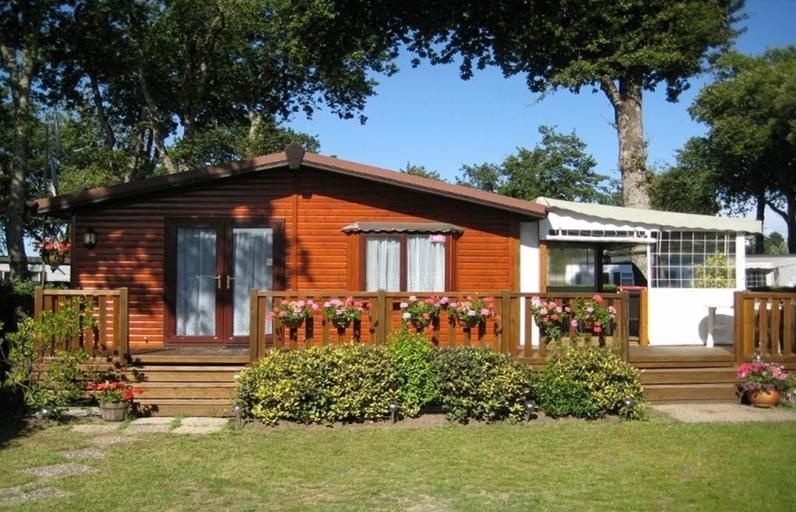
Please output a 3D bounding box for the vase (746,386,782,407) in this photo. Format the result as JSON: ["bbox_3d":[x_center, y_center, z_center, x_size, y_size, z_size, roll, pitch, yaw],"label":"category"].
[{"bbox_3d":[9.842,3.774,21.953,0.559,0.361,0.595,3,-10,-13],"label":"vase"}]

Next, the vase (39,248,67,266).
[{"bbox_3d":[-12.552,0.072,30.439,0.767,0.463,0.766,-2,-5,28],"label":"vase"}]

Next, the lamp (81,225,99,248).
[{"bbox_3d":[-8.865,-0.532,23.676,0.521,0.901,0.543,2,-3,-10],"label":"lamp"}]

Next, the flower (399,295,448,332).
[{"bbox_3d":[0.773,1.496,22.522,1.042,0.821,1.170,0,0,9],"label":"flower"}]

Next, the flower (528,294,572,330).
[{"bbox_3d":[4.136,1.559,22.450,0.943,0.749,1.061,4,-2,-33],"label":"flower"}]

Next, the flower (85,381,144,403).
[{"bbox_3d":[-7.327,3.552,21.316,0.914,0.382,0.823,2,-4,-5],"label":"flower"}]

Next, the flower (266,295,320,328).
[{"bbox_3d":[-2.785,1.502,22.002,0.920,0.525,0.932,-3,3,38],"label":"flower"}]

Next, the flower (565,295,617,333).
[{"bbox_3d":[5.368,1.593,22.385,1.087,0.835,1.180,1,2,26],"label":"flower"}]

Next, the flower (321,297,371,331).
[{"bbox_3d":[-1.392,1.513,22.247,0.969,0.700,1.047,2,0,18],"label":"flower"}]

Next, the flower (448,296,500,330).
[{"bbox_3d":[2.033,1.549,22.312,1.004,0.642,1.002,2,-3,-28],"label":"flower"}]

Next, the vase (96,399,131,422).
[{"bbox_3d":[-7.331,4.003,21.195,0.573,0.345,0.568,9,-13,-37],"label":"vase"}]
